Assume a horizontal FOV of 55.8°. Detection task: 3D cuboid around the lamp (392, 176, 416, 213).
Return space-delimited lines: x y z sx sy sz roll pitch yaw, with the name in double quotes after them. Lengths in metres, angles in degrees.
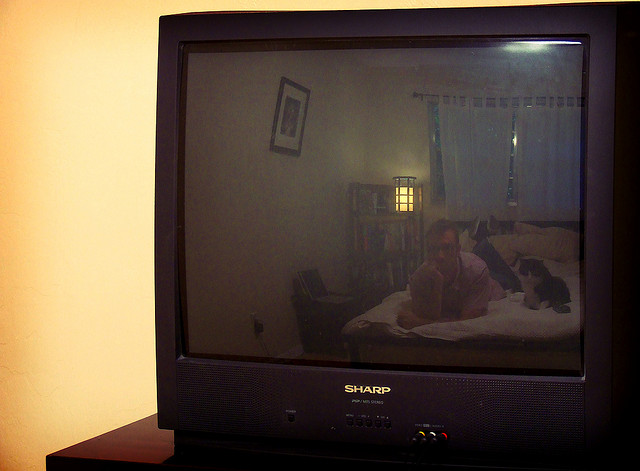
0.232 -0.116 1.726 0.083 0.116 0.084 0 -5 -1 "lamp"
